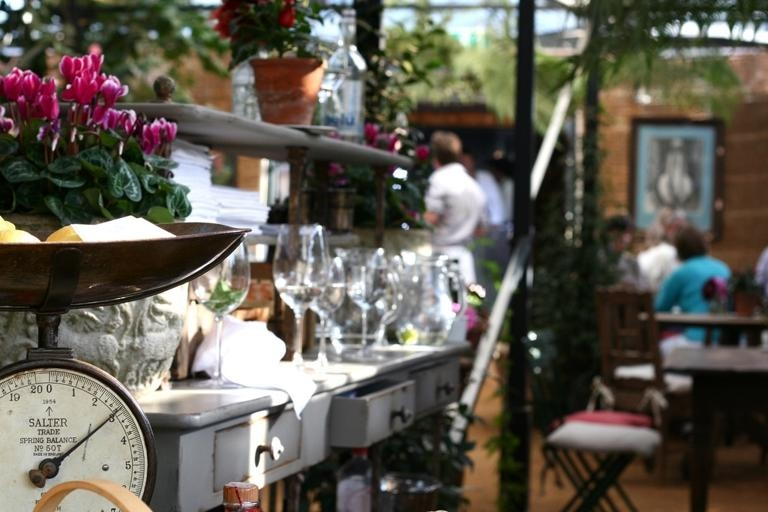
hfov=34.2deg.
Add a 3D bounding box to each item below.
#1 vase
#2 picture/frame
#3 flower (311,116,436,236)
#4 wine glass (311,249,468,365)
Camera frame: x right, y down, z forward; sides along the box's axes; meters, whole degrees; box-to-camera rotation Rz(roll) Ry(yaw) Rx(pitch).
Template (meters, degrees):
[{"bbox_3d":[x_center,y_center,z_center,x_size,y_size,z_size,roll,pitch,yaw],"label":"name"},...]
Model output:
[{"bbox_3d":[-0.279,-0.459,3.470,0.178,0.157,0.188,0,6,5],"label":"vase"},{"bbox_3d":[0.961,-0.254,4.028,0.383,0.544,0.053,1,6,4],"label":"picture/frame"},{"bbox_3d":[-0.064,-0.279,4.349,0.316,0.380,0.887,2,5,17],"label":"flower"},{"bbox_3d":[0.052,0.177,3.908,0.370,0.302,0.303,5,-15,-13],"label":"wine glass"}]
